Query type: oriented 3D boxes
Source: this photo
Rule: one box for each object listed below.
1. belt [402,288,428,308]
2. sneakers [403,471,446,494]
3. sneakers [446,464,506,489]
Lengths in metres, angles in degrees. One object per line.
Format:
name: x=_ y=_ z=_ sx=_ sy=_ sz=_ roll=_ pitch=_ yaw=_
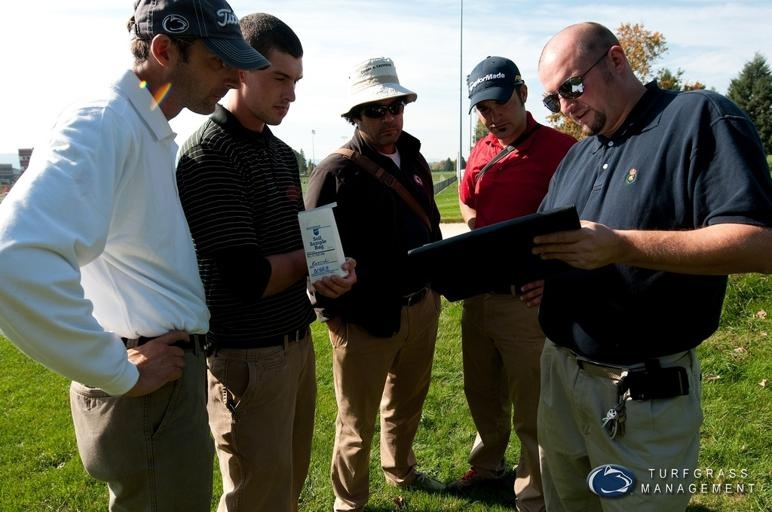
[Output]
belt: x=0.209 y=0.311 z=5.078 sx=0.130 sy=0.067 sz=0.134 roll=-19 pitch=17 yaw=-13
sneakers: x=0.305 y=1.785 z=5.372 sx=0.351 sy=0.151 sz=0.136 roll=-1 pitch=14 yaw=3
sneakers: x=0.715 y=1.769 z=5.462 sx=0.508 sy=0.234 sz=0.175 roll=0 pitch=-8 yaw=-3
